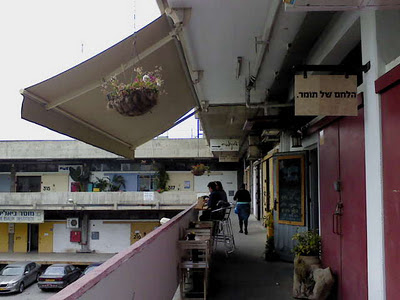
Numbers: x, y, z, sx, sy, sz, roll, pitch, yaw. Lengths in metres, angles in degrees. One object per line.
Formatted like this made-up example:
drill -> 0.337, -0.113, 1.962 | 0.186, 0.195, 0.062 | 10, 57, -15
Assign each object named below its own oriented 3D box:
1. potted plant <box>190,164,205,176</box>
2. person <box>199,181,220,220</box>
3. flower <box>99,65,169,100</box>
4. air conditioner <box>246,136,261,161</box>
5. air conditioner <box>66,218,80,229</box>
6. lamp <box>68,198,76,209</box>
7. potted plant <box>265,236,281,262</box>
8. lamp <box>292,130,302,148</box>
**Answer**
potted plant -> -0.099, 0.897, 18.682 | 0.663, 0.369, 0.766 | -7, -5, -1
person -> 0.202, 1.273, 9.278 | 0.460, 1.060, 0.435 | -9, -13, 24
flower -> -0.962, -0.793, 6.385 | 0.875, 0.423, 0.579 | -24, 18, -4
air conditioner -> 1.683, -0.077, 13.535 | 0.356, 0.701, 0.562 | -1, -9, -1
air conditioner -> -6.535, 3.822, 22.329 | 0.472, 0.514, 0.525 | 0, -7, -5
lamp -> -6.022, 2.610, 20.573 | 0.115, 0.451, 0.408 | -8, 9, -44
potted plant -> 1.475, 2.019, 8.690 | 0.323, 0.729, 0.361 | -2, -3, 11
lamp -> 1.882, -0.206, 8.409 | 0.244, 0.322, 0.263 | 1, -6, -11
